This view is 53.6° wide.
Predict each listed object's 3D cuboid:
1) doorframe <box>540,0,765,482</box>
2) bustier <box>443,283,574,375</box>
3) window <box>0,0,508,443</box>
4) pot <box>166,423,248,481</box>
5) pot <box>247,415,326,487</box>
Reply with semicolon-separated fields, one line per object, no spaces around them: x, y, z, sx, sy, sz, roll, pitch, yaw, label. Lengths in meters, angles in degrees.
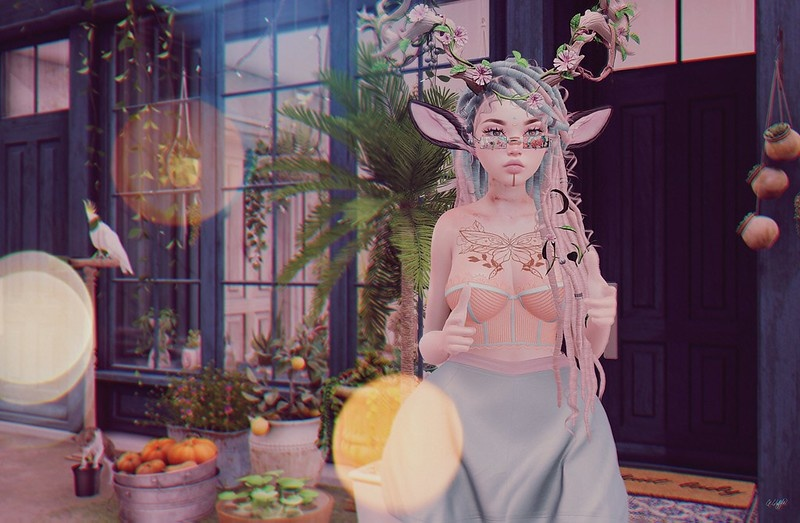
2.309;0.040;6.724;1.378;3.801;0.154;1;0;11;doorframe
0.696;0.428;4.988;0.784;0.668;0.536;-1;-36;2;bustier
-1.213;-0.339;6.890;4.116;4.471;0.144;0;-3;27;window
-1.508;1.717;6.913;0.522;0.399;0.492;-15;-7;-2;pot
-0.963;1.565;6.613;0.513;0.599;0.534;0;-12;0;pot
